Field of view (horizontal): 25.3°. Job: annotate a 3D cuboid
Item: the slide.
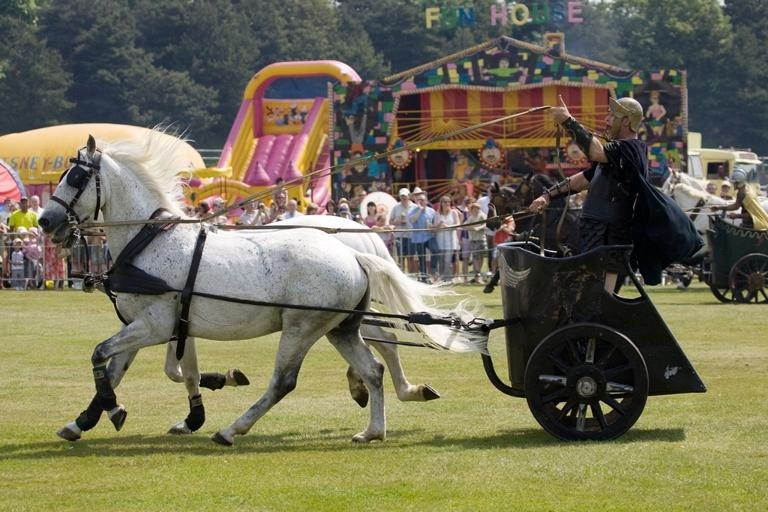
[{"bbox_3d":[-4.743,-4.273,73.918,4.709,3.474,6.993,-1,36,12],"label":"slide"}]
